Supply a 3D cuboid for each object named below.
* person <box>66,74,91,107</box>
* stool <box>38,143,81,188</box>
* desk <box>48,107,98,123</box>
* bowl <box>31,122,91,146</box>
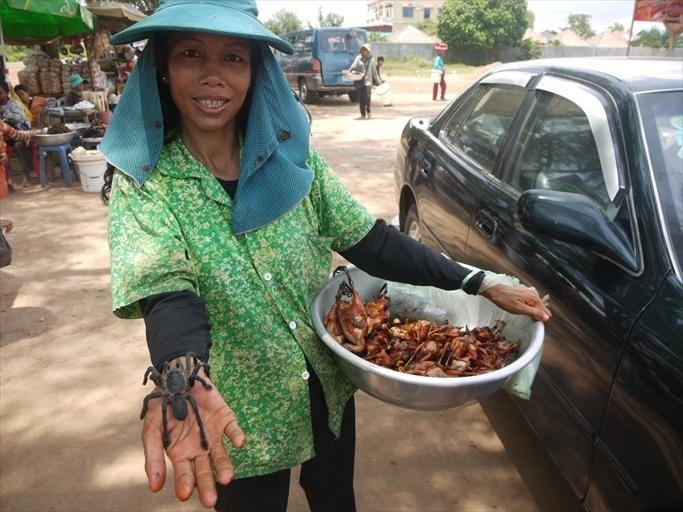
[{"bbox_3d":[-6.003,-3.706,10.551,0.439,0.638,1.124,-13,24,-26],"label":"person"},{"bbox_3d":[-5.008,-1.545,8.142,0.841,0.656,0.846,-8,14,-29],"label":"stool"},{"bbox_3d":[-5.213,-2.738,9.133,0.675,0.322,1.428,-10,23,-19],"label":"desk"},{"bbox_3d":[-4.811,-2.083,8.071,0.658,0.340,1.329,-6,22,-11],"label":"bowl"}]
